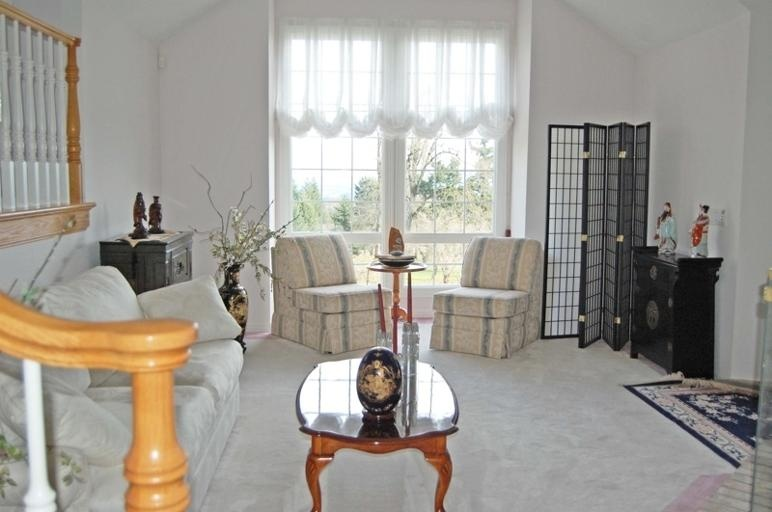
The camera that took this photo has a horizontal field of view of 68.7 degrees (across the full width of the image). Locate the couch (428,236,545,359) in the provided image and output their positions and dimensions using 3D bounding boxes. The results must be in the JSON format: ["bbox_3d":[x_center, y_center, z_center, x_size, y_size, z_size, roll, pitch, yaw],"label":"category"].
[{"bbox_3d":[1.008,0.412,6.059,0.935,1.282,1.260,1,2,30],"label":"couch"}]

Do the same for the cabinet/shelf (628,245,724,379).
[{"bbox_3d":[2.576,0.508,4.985,0.405,1.136,1.091,0,1,-2],"label":"cabinet/shelf"}]

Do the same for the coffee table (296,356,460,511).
[{"bbox_3d":[-0.045,0.913,3.141,0.705,0.382,0.931,-2,11,-4],"label":"coffee table"}]

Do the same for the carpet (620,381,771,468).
[{"bbox_3d":[2.265,1.172,4.318,0.930,0.071,1.139,8,14,33],"label":"carpet"}]

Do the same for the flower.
[{"bbox_3d":[-1.711,-0.323,6.085,0.920,1.545,1.421,3,6,15],"label":"flower"}]
